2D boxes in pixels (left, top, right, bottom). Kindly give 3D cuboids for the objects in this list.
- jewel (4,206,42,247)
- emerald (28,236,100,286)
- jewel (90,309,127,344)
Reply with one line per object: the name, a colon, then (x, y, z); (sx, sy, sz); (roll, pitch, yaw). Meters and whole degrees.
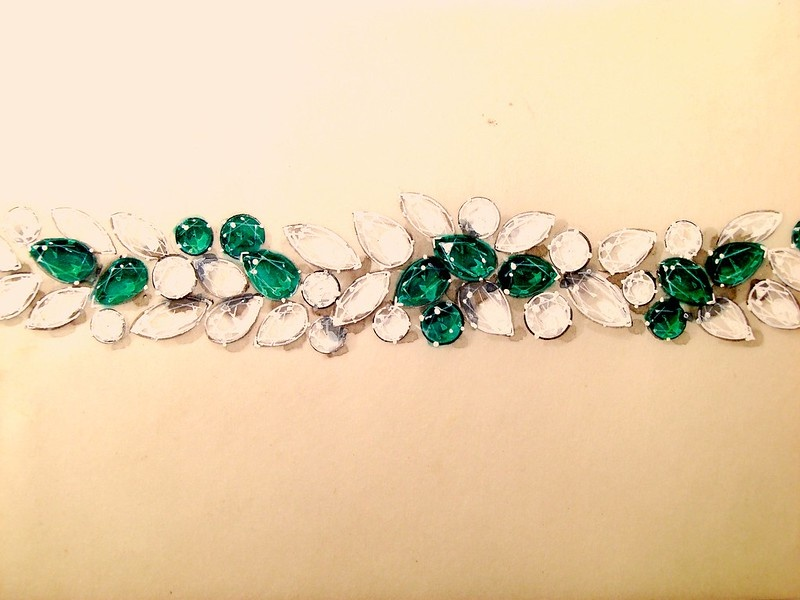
jewel: (-1.155, -0.219, 2.536); (0.096, 0.123, 0.073); (-12, 1, -1)
emerald: (-1.028, -0.119, 2.513); (0.198, 0.133, 0.035); (0, 12, 8)
jewel: (-0.899, 0.075, 2.464); (0.099, 0.106, 0.023); (3, 1, 0)
